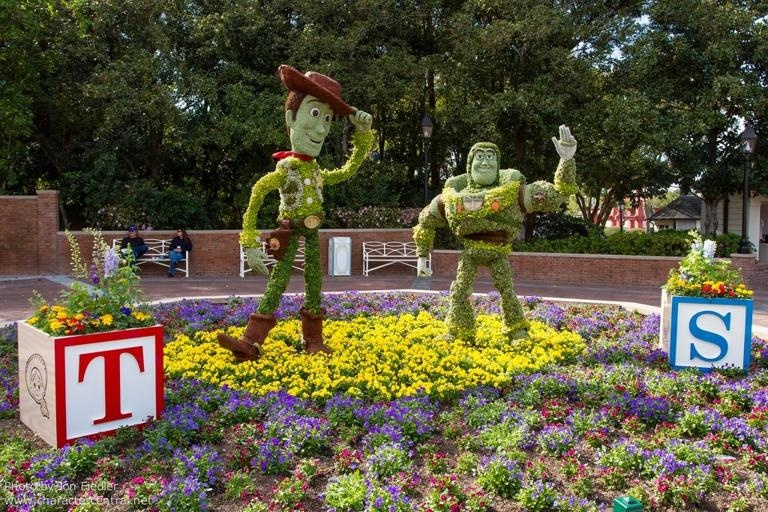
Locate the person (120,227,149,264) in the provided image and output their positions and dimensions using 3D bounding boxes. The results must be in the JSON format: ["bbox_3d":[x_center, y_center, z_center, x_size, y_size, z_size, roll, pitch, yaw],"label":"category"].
[{"bbox_3d":[-7.272,-0.427,19.295,0.756,0.996,0.604,-2,-1,-25],"label":"person"}]

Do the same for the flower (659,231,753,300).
[{"bbox_3d":[5.005,0.128,10.456,1.180,0.986,1.022,-1,6,13],"label":"flower"}]

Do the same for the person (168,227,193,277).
[{"bbox_3d":[-6.076,-0.123,19.910,0.690,1.360,0.631,-4,6,-20],"label":"person"}]
